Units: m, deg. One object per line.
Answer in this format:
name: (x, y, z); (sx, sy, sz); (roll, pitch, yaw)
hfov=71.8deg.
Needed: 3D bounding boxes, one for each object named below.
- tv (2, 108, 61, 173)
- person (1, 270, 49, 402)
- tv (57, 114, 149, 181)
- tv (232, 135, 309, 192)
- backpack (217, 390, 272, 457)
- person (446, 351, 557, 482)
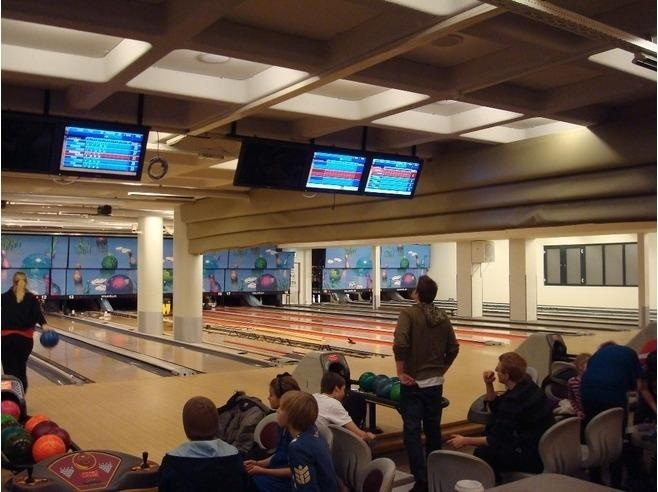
tv: (-2.608, -0.903, 3.966); (0.556, 0.539, 0.056); (4, 4, -13)
person: (-3.395, 0.993, 4.993); (0.445, 1.404, 1.160); (5, -4, -32)
tv: (-2.081, -0.911, 4.145); (0.687, 0.511, 0.091); (4, 10, -24)
tv: (-0.594, -0.899, 4.852); (0.811, 0.501, 0.082); (4, 23, -30)
backpack: (-0.683, 1.374, 3.544); (0.435, 0.222, 0.505); (5, 16, 36)
person: (1.254, 1.186, 3.215); (0.513, 0.838, 0.571); (6, -5, -44)
